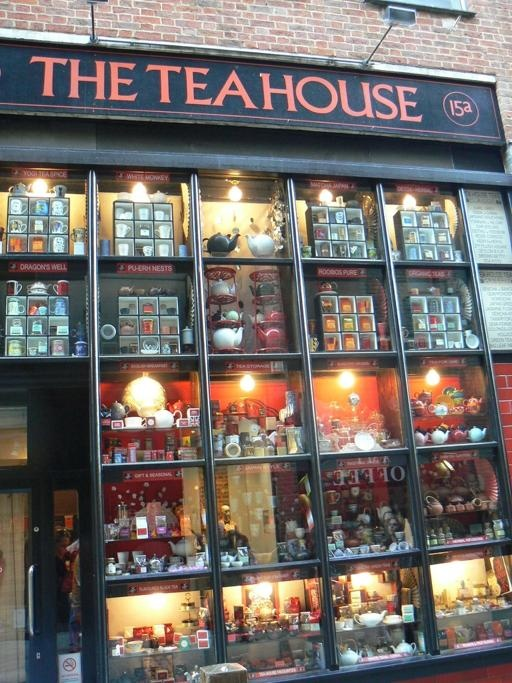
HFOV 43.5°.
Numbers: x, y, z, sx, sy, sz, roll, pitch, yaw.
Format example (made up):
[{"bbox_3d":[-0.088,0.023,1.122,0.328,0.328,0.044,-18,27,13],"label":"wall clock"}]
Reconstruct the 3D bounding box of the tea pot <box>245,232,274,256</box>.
[{"bbox_3d":[0.038,-0.714,4.690,0.209,0.146,0.148,-1,-4,-12],"label":"tea pot"}]

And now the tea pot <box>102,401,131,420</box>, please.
[{"bbox_3d":[-0.906,0.452,4.168,0.078,0.132,0.241,-16,-17,31],"label":"tea pot"}]

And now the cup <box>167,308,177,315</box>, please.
[{"bbox_3d":[-0.579,-0.205,4.436,0.055,0.034,0.051,1,-14,0],"label":"cup"}]

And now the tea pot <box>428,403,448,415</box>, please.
[{"bbox_3d":[1.372,0.518,4.816,0.092,0.097,0.076,-11,-8,-6],"label":"tea pot"}]

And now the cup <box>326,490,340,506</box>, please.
[{"bbox_3d":[0.532,1.084,4.439,0.076,0.098,0.115,-20,-24,40],"label":"cup"}]

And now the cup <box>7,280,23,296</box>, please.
[{"bbox_3d":[-1.622,-0.360,4.316,0.125,0.109,0.077,-2,-15,3],"label":"cup"}]

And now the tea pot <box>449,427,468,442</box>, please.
[{"bbox_3d":[1.505,0.702,4.767,0.115,0.068,0.097,-7,-10,30],"label":"tea pot"}]

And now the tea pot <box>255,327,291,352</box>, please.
[{"bbox_3d":[0.112,-0.016,4.571,0.220,0.172,0.162,1,-7,-13],"label":"tea pot"}]

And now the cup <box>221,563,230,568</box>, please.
[{"bbox_3d":[-0.191,1.415,4.052,0.045,0.028,0.042,2,-11,0],"label":"cup"}]

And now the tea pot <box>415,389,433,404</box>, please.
[{"bbox_3d":[1.259,0.426,4.815,0.125,0.109,0.085,0,-8,5],"label":"tea pot"}]

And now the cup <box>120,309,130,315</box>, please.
[{"bbox_3d":[-0.894,-0.198,4.375,0.053,0.033,0.049,0,-9,0],"label":"cup"}]

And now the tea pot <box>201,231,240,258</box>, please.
[{"bbox_3d":[-0.242,-0.700,4.621,0.289,0.173,0.165,-1,-14,-4],"label":"tea pot"}]

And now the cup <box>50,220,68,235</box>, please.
[{"bbox_3d":[-1.334,-0.781,4.421,0.140,0.115,0.079,-1,-14,-12],"label":"cup"}]

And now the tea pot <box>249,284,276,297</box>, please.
[{"bbox_3d":[0.053,-0.374,4.760,0.166,0.098,0.089,-2,-8,5],"label":"tea pot"}]

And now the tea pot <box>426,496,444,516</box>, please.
[{"bbox_3d":[1.283,1.186,4.652,0.102,0.129,0.052,6,-52,-17],"label":"tea pot"}]

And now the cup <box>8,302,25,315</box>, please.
[{"bbox_3d":[-1.581,-0.223,4.253,0.123,0.107,0.075,1,-16,-6],"label":"cup"}]

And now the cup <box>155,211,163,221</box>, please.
[{"bbox_3d":[-0.690,-0.903,4.603,0.072,0.071,0.067,0,-13,0],"label":"cup"}]

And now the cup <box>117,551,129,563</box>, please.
[{"bbox_3d":[-0.815,1.333,3.955,0.069,0.074,0.067,-3,-27,-1],"label":"cup"}]

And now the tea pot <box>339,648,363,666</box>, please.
[{"bbox_3d":[0.593,2.009,4.081,0.108,0.094,0.102,1,-6,0],"label":"tea pot"}]

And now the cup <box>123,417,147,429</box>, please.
[{"bbox_3d":[-0.777,0.527,4.144,0.111,0.050,0.074,-1,-6,14],"label":"cup"}]

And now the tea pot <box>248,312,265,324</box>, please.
[{"bbox_3d":[0.006,-0.165,4.648,0.078,0.062,0.095,1,-3,-2],"label":"tea pot"}]

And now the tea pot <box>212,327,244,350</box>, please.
[{"bbox_3d":[-0.193,-0.016,4.483,0.193,0.116,0.136,5,-15,-9],"label":"tea pot"}]

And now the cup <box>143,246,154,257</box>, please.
[{"bbox_3d":[-0.753,-0.638,4.559,0.077,0.059,0.081,0,-3,0],"label":"cup"}]

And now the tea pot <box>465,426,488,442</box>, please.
[{"bbox_3d":[1.640,0.695,4.761,0.163,0.098,0.097,0,0,1],"label":"tea pot"}]

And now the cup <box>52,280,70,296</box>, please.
[{"bbox_3d":[-1.309,-0.366,4.362,0.132,0.115,0.075,0,-9,8],"label":"cup"}]

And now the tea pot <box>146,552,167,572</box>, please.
[{"bbox_3d":[-0.618,1.385,4.019,0.118,0.101,0.080,6,-28,-21],"label":"tea pot"}]

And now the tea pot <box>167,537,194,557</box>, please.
[{"bbox_3d":[-0.473,1.313,4.076,0.143,0.086,0.090,1,-10,10],"label":"tea pot"}]

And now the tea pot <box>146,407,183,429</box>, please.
[{"bbox_3d":[-0.591,0.499,4.183,0.190,0.117,0.119,5,-21,-14],"label":"tea pot"}]

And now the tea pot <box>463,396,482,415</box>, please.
[{"bbox_3d":[1.645,0.487,4.859,0.153,0.134,0.099,-1,-14,19],"label":"tea pot"}]

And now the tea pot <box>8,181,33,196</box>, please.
[{"bbox_3d":[-1.614,-1.055,4.423,0.128,0.077,0.081,4,-4,-2],"label":"tea pot"}]

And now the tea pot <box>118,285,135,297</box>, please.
[{"bbox_3d":[-0.903,-0.351,4.487,0.096,0.074,0.067,4,-12,-8],"label":"tea pot"}]

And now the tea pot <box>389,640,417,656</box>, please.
[{"bbox_3d":[0.973,2.020,4.214,0.125,0.077,0.081,0,-20,6],"label":"tea pot"}]

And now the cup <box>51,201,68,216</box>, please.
[{"bbox_3d":[-1.352,-0.918,4.484,0.143,0.089,0.086,5,-18,-18],"label":"cup"}]

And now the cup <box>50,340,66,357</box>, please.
[{"bbox_3d":[-1.290,0.045,4.212,0.123,0.099,0.179,1,1,-14],"label":"cup"}]

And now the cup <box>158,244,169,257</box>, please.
[{"bbox_3d":[-0.646,-0.647,4.552,0.091,0.071,0.091,-1,-6,0],"label":"cup"}]

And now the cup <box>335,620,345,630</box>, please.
[{"bbox_3d":[0.543,1.838,4.145,0.070,0.045,0.058,1,-13,-5],"label":"cup"}]

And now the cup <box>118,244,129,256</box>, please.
[{"bbox_3d":[-0.920,-0.637,4.461,0.079,0.078,0.074,-3,-13,-1],"label":"cup"}]

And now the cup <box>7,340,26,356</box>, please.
[{"bbox_3d":[-1.540,0.043,4.159,0.142,0.120,0.077,1,-18,-12],"label":"cup"}]

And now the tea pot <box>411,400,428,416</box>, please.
[{"bbox_3d":[1.195,0.493,4.714,0.135,0.099,0.097,3,-18,-8],"label":"tea pot"}]

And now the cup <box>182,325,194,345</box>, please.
[{"bbox_3d":[-0.459,-0.044,4.399,0.109,0.148,0.101,-2,-10,0],"label":"cup"}]

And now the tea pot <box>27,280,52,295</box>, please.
[{"bbox_3d":[-1.449,-0.358,4.305,0.130,0.077,0.100,-1,0,-25],"label":"tea pot"}]

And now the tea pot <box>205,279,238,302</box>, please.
[{"bbox_3d":[-0.245,-0.364,4.628,0.153,0.122,0.202,0,-1,-38],"label":"tea pot"}]

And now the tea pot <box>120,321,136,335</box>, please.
[{"bbox_3d":[-0.853,-0.094,4.345,0.132,0.112,0.072,1,-12,-13],"label":"tea pot"}]

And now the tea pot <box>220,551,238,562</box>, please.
[{"bbox_3d":[-0.172,1.375,4.079,0.060,0.062,0.092,-18,-28,33],"label":"tea pot"}]

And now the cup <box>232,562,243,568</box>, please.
[{"bbox_3d":[-0.117,1.415,4.078,0.054,0.034,0.036,-5,-26,-25],"label":"cup"}]

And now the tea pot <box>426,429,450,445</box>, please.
[{"bbox_3d":[1.334,0.697,4.694,0.135,0.081,0.093,2,-18,12],"label":"tea pot"}]

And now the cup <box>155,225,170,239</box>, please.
[{"bbox_3d":[-0.662,-0.785,4.578,0.083,0.079,0.116,2,-12,-14],"label":"cup"}]

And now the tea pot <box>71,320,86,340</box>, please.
[{"bbox_3d":[-1.179,-0.077,4.311,0.092,0.125,0.144,3,2,-6],"label":"tea pot"}]

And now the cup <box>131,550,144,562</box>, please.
[{"bbox_3d":[-0.731,1.336,3.990,0.065,0.045,0.050,-4,-13,11],"label":"cup"}]
